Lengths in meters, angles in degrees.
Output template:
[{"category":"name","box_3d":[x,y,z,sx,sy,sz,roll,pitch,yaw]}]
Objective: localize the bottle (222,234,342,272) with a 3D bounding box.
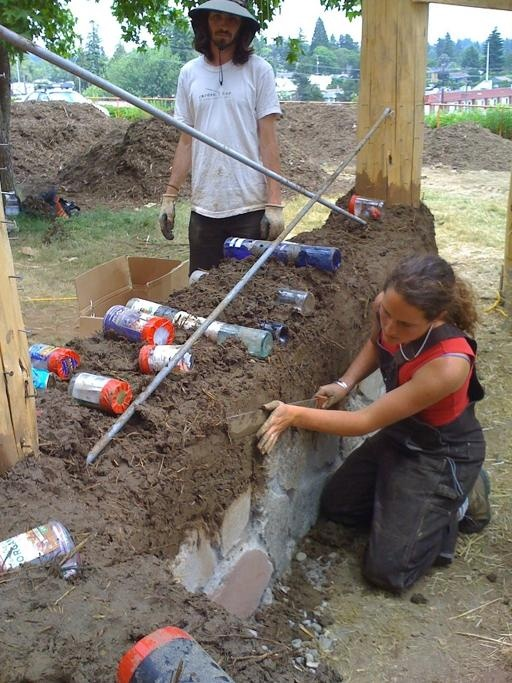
[{"category":"bottle","box_3d":[0.182,-0.500,3.516,0.807,0.222,0.193,7,59,22]}]

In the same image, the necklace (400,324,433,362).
[{"category":"necklace","box_3d":[0.685,0.018,2.619,0.037,0.135,0.125,7,19,-43]}]

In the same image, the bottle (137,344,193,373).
[{"category":"bottle","box_3d":[-0.385,0.085,2.661,0.230,0.117,0.165,11,18,42]}]

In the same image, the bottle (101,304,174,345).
[{"category":"bottle","box_3d":[-0.586,-0.067,2.926,0.373,0.164,0.264,0,13,3]}]

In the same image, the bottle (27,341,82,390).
[{"category":"bottle","box_3d":[-0.903,0.107,2.759,0.211,0.153,0.260,-5,14,-18]}]

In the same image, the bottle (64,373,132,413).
[{"category":"bottle","box_3d":[-0.644,0.217,2.535,0.257,0.141,0.123,7,16,31]}]

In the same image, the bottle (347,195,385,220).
[{"category":"bottle","box_3d":[0.842,-1.039,4.725,0.270,0.184,0.259,-1,13,0]}]

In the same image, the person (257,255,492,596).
[{"category":"person","box_3d":[0.596,0.364,2.848,0.877,1.542,0.713,4,15,19]}]

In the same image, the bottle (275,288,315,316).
[{"category":"bottle","box_3d":[0.190,-0.200,3.161,0.092,0.088,0.154,-33,36,-29]}]

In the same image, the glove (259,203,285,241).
[{"category":"glove","box_3d":[0.118,-0.737,3.772,0.182,0.208,0.101,20,24,16]}]
